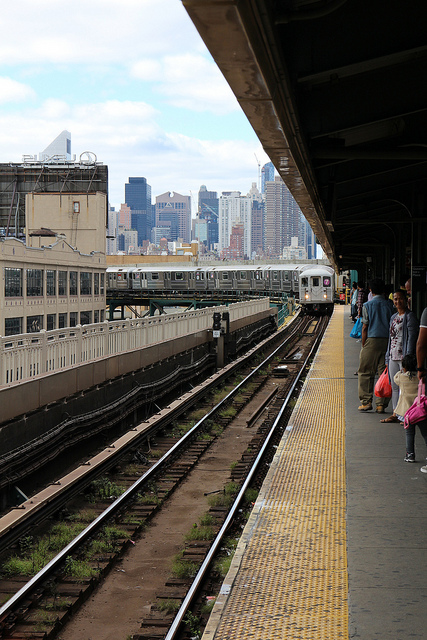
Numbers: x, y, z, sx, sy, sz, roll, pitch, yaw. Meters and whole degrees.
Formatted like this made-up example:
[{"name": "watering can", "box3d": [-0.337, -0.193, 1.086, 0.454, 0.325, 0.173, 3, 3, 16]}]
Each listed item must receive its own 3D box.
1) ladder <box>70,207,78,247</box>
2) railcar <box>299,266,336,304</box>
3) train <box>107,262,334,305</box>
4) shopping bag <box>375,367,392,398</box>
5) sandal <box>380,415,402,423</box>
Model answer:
[{"name": "ladder", "box3d": [-13.089, -8.653, 59.148, 0.690, 3.079, 0.430, 0, 3, -13]}, {"name": "railcar", "box3d": [7.359, -2.476, 44.400, 2.332, 2.778, 8.469, 0, 3, 10]}, {"name": "train", "box3d": [0.167, -3.850, 66.942, 24.818, 3.628, 3.296, 2, -8, 7]}, {"name": "shopping bag", "box3d": [2.186, 0.807, 8.084, 0.198, 0.440, 0.518, 2, 3, 14]}, {"name": "sandal", "box3d": [2.279, 1.262, 8.060, 0.266, 0.104, 0.090, 2, -1, 5]}]
